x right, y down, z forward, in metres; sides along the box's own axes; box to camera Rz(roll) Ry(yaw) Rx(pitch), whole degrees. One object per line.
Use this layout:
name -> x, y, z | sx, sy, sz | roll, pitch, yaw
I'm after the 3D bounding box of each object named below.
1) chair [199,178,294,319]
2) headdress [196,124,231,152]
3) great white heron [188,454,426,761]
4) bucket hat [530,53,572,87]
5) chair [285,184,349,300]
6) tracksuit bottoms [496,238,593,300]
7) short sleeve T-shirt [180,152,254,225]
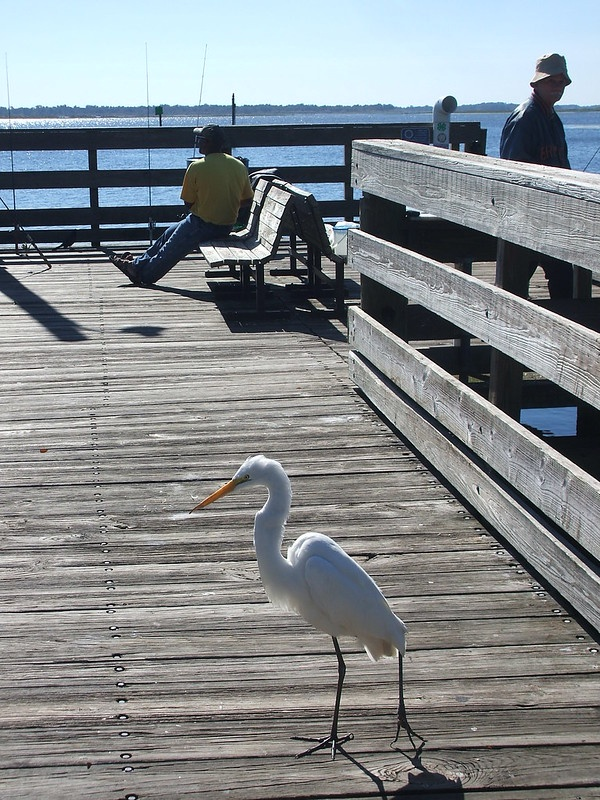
chair -> -0.354, -0.969, 8.478 | 0.370, 0.565, 1.048 | -1, 20, -4
headdress -> -0.585, -1.716, 8.706 | 0.183, 0.179, 0.331 | -2, 11, -9
great white heron -> 0.031, 0.480, 3.147 | 0.547, 0.641, 0.320 | 2, 12, 6
bucket hat -> 1.111, -1.452, 5.834 | 0.165, 0.132, 0.242 | 2, 11, 9
chair -> 0.109, -1.032, 8.912 | 0.377, 0.545, 1.372 | -1, 23, -12
tracksuit bottoms -> 0.864, -0.456, 4.626 | 0.236, 0.265, 0.440 | 11, 17, 27
short sleeve T-shirt -> -0.551, -1.399, 8.706 | 0.527, 0.440, 0.260 | -7, 28, -28
